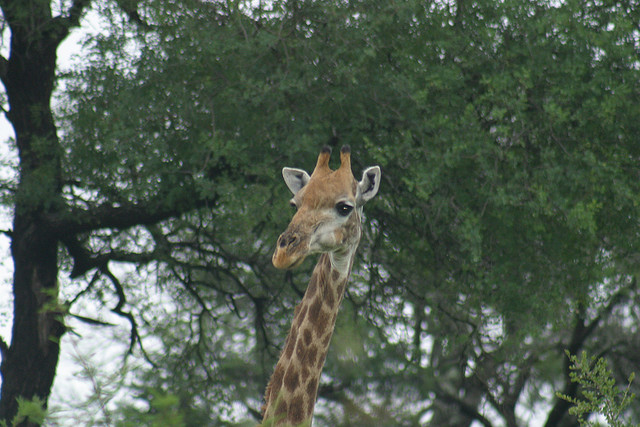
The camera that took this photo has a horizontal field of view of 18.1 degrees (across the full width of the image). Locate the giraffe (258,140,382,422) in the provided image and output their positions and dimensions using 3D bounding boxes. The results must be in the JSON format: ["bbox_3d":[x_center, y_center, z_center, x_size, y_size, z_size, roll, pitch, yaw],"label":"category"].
[{"bbox_3d":[-0.051,1.229,36.416,1.458,4.354,2.605,9,-35,1],"label":"giraffe"}]
